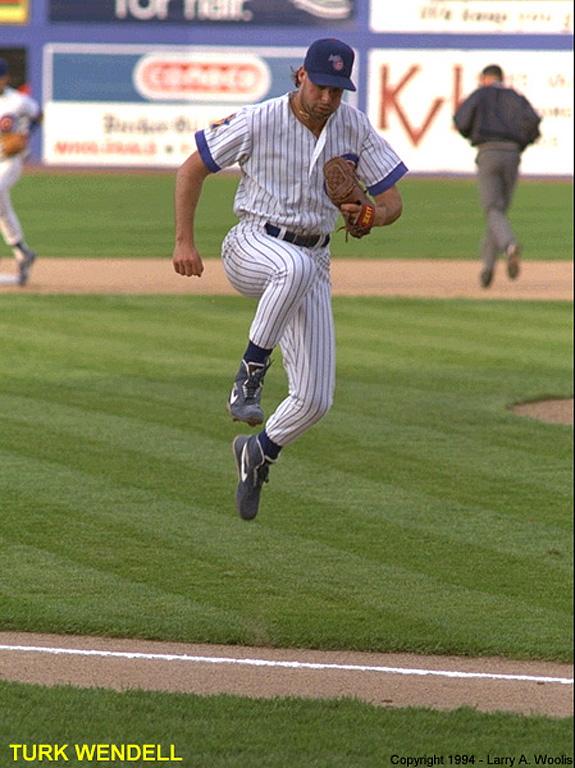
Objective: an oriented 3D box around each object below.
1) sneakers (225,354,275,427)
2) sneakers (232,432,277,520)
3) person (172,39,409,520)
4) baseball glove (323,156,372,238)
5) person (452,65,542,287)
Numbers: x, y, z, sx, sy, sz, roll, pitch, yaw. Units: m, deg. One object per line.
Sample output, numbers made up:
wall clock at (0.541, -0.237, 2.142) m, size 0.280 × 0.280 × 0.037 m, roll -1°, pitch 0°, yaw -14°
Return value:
sneakers at (-0.160, 0.036, 6.507) m, size 0.109 × 0.234 × 0.336 m, roll 13°, pitch 17°, yaw -17°
sneakers at (-0.131, 0.394, 6.823) m, size 0.130 × 0.401 × 0.167 m, roll -9°, pitch 18°, yaw -37°
person at (-0.009, -0.376, 6.561) m, size 0.953 × 2.090 × 0.583 m, roll 3°, pitch 15°, yaw 0°
baseball glove at (0.244, -0.753, 6.303) m, size 0.168 × 0.306 × 0.116 m, roll -17°, pitch 0°, yaw 38°
person at (1.542, -1.546, 11.804) m, size 0.645 × 1.598 × 0.782 m, roll 5°, pitch 16°, yaw 8°
